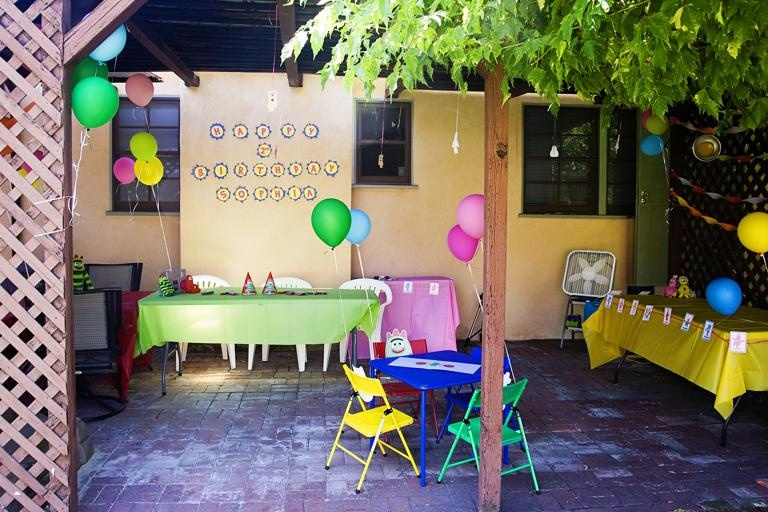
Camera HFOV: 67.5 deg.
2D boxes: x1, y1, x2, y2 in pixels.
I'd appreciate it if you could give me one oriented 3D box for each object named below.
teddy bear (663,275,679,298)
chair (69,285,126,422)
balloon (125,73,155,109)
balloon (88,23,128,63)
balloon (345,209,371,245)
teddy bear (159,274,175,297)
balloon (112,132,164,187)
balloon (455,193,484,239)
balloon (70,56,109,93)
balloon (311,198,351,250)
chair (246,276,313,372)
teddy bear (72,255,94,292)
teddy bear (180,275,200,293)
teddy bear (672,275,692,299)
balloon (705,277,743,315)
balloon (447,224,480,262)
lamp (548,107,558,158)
[{"bbox_3d":[4.058,0.416,8.092,0.141,0.311,0.190,36,-28,-18],"label":"teddy bear"},{"bbox_3d":[-3.179,1.016,6.416,0.541,1.406,0.717,-7,14,-29],"label":"chair"},{"bbox_3d":[-2.901,-1.983,6.800,0.269,0.372,0.399,-5,13,-24],"label":"balloon"},{"bbox_3d":[-2.442,-1.884,5.052,0.293,0.331,0.327,-4,13,-18],"label":"balloon"},{"bbox_3d":[-0.340,-0.369,7.282,0.384,0.485,0.389,-4,0,-14],"label":"balloon"},{"bbox_3d":[-2.727,0.372,7.172,0.261,0.274,0.161,1,1,22],"label":"teddy bear"},{"bbox_3d":[-3.245,-1.287,7.634,0.774,0.686,0.472,9,15,36],"label":"balloon"},{"bbox_3d":[0.895,-0.402,5.930,0.265,0.482,0.331,2,12,6],"label":"balloon"},{"bbox_3d":[-2.596,-1.599,5.132,0.275,0.272,0.279,2,6,3],"label":"balloon"},{"bbox_3d":[-0.654,-0.376,6.870,0.515,0.681,0.525,-4,0,-2],"label":"balloon"},{"bbox_3d":[-1.301,0.944,8.335,1.129,1.538,1.109,0,-9,4],"label":"chair"},{"bbox_3d":[-3.983,0.235,7.593,0.166,0.518,0.396,-12,-11,26],"label":"teddy bear"},{"bbox_3d":[-2.505,0.371,7.461,0.166,0.222,0.225,-1,-4,20],"label":"teddy bear"},{"bbox_3d":[4.058,0.421,7.827,0.269,0.313,0.146,-1,-2,-4],"label":"teddy bear"},{"bbox_3d":[3.733,0.453,6.293,0.321,0.447,0.269,-9,16,-38],"label":"balloon"},{"bbox_3d":[0.895,-0.143,6.550,0.433,0.336,0.538,4,-9,-27],"label":"balloon"},{"bbox_3d":[2.718,-1.886,9.117,0.148,0.660,0.257,7,14,28],"label":"lamp"}]
